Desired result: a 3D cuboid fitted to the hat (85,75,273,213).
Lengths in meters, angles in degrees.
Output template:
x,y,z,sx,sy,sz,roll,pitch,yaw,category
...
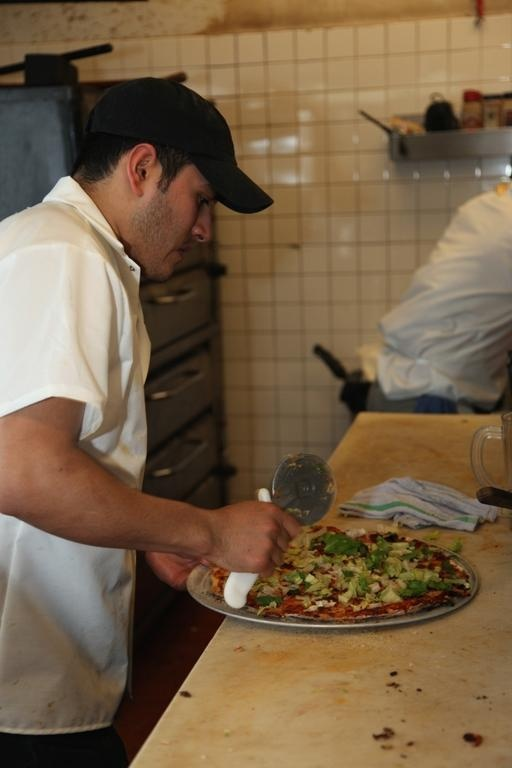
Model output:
x,y,z,sx,sy,sz,roll,pitch,yaw,category
-0.092,-0.295,0.926,0.260,0.109,0.149,13,-8,-2,hat
